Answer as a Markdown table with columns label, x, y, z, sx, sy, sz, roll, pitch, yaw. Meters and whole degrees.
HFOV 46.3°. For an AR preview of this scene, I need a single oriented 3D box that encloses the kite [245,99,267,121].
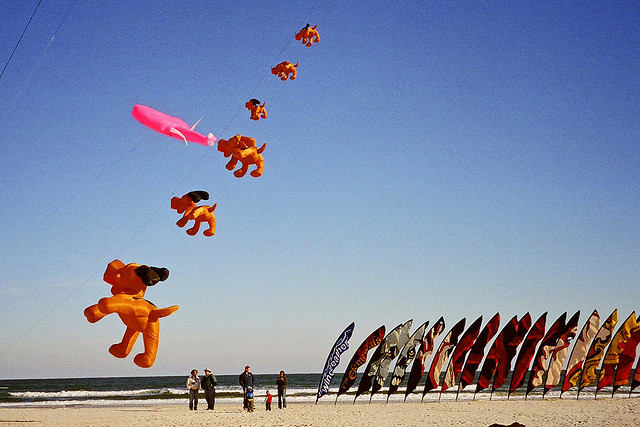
| label | x | y | z | sx | sy | sz | roll | pitch | yaw |
| --- | --- | --- | --- | --- | --- | --- | --- | --- | --- |
| kite | -2.613 | -4.131 | 30.353 | 0.715 | 1.008 | 0.572 | -2 | -22 | 11 |

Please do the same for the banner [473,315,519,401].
| label | x | y | z | sx | sy | sz | roll | pitch | yaw |
| --- | --- | --- | --- | --- | --- | --- | --- | --- | --- |
| banner | 8.495 | 7.156 | 38.078 | 1.277 | 7.382 | 0.482 | 8 | -62 | 18 |

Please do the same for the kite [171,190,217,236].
| label | x | y | z | sx | sy | sz | roll | pitch | yaw |
| --- | --- | --- | --- | --- | --- | --- | --- | --- | --- |
| kite | -4.871 | -0.080 | 29.273 | 1.898 | 1.846 | 1.042 | 11 | -3 | -10 |

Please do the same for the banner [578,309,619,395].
| label | x | y | z | sx | sy | sz | roll | pitch | yaw |
| --- | --- | --- | --- | --- | --- | --- | --- | --- | --- |
| banner | 13.716 | 6.827 | 36.843 | 0.985 | 5.800 | 0.334 | 12 | -41 | 37 |

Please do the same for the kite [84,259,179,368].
| label | x | y | z | sx | sy | sz | roll | pitch | yaw |
| --- | --- | --- | --- | --- | --- | --- | --- | --- | --- |
| kite | -6.947 | 3.385 | 28.066 | 1.917 | 4.318 | 4.611 | 11 | 4 | 27 |

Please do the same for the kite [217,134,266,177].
| label | x | y | z | sx | sy | sz | roll | pitch | yaw |
| --- | --- | --- | --- | --- | --- | --- | --- | --- | --- |
| kite | -3.084 | -2.410 | 29.924 | 2.138 | 1.750 | 0.991 | 4 | -25 | 10 |

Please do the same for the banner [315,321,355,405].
| label | x | y | z | sx | sy | sz | roll | pitch | yaw |
| --- | --- | --- | --- | --- | --- | --- | --- | --- | --- |
| banner | 0.856 | 7.119 | 36.816 | 0.958 | 0.126 | 6.683 | 23 | -54 | 10 |
